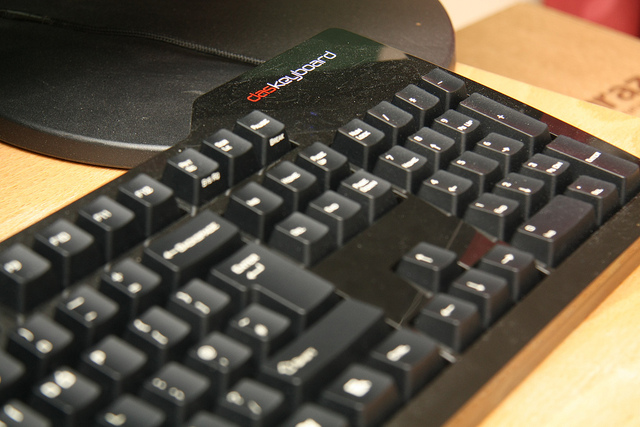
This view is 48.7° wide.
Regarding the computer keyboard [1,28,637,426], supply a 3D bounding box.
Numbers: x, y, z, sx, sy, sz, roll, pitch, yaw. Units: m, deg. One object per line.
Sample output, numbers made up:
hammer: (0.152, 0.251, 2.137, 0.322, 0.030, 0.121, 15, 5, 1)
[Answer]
computer keyboard: (-0.006, 0.019, 0.603, 0.522, 0.067, 0.317, -32, 57, -34)
